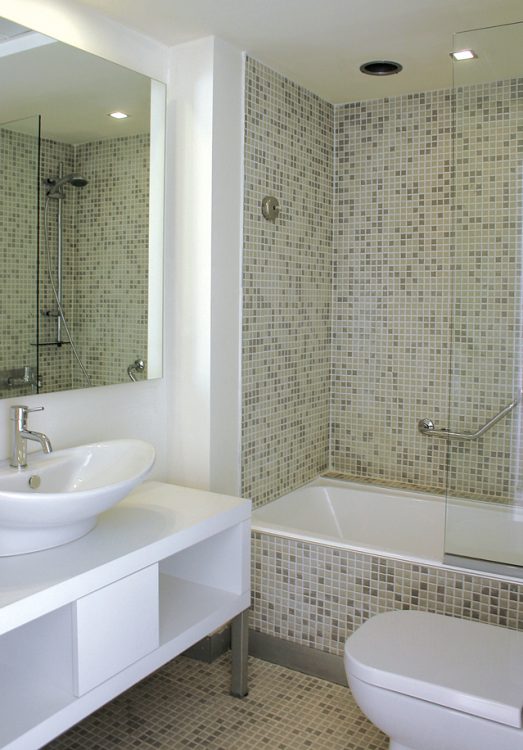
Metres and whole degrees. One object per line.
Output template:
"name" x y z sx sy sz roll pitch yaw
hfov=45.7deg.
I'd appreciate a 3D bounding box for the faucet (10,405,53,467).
"faucet" -0.652 0.177 1.770 0.124 0.191 0.054 10 16 12
